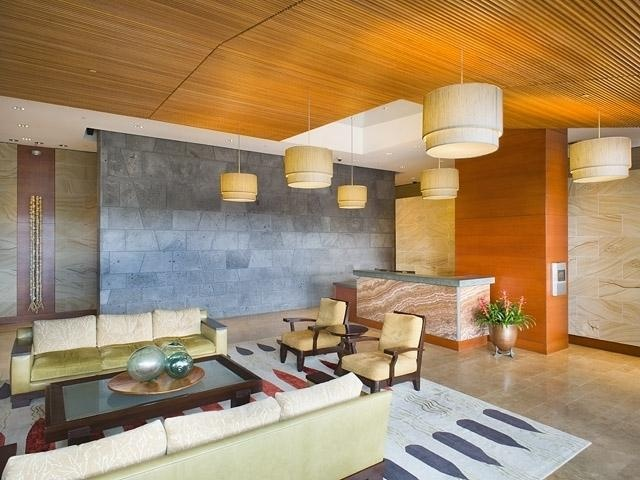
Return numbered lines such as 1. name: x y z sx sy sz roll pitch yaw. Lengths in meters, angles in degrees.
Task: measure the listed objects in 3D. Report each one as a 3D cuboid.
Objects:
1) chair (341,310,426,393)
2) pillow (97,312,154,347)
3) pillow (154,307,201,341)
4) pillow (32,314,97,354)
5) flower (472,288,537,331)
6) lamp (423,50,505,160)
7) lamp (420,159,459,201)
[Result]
1. chair: 0.997 1.524 6.212 1.414 1.082 1.063 3 -4 -34
2. pillow: -2.951 1.372 6.475 0.609 0.275 0.091 1 -6 -25
3. pillow: -2.279 1.360 6.822 0.605 0.253 0.097 0 -8 -31
4. pillow: -3.653 1.376 6.164 0.968 0.434 0.172 0 -15 -32
5. flower: 3.209 1.330 7.717 0.676 0.671 0.829 -4 8 -32
6. lamp: 1.469 -1.286 4.490 0.780 0.722 0.455 2 8 11
7. lamp: 2.111 -1.088 8.218 0.809 0.925 0.675 0 2 -20
